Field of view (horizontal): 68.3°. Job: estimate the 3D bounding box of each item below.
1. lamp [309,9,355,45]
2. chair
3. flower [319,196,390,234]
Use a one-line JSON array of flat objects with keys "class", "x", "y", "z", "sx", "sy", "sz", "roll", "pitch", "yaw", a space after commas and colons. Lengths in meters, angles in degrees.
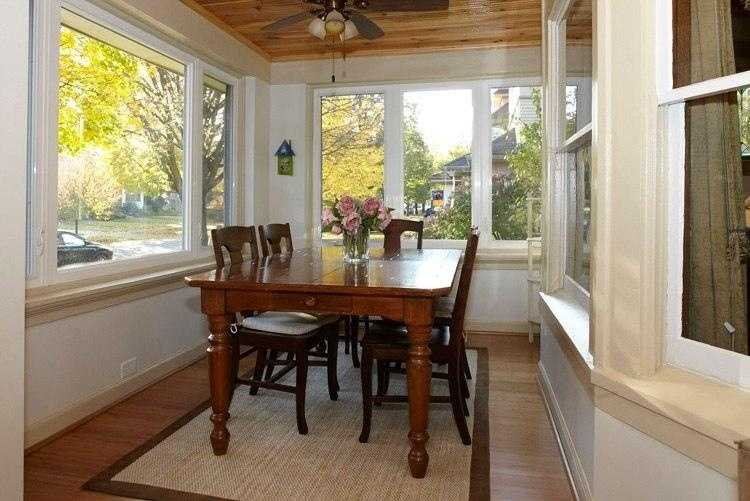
[{"class": "lamp", "x": -0.287, "y": -1.409, "z": 3.438, "sx": 0.220, "sy": 0.085, "sz": 0.231, "roll": -7, "pitch": 7, "yaw": 13}, {"class": "chair", "x": -0.154, "y": 0.434, "z": 3.232, "sx": 1.004, "sy": 0.776, "sz": 1.547, "roll": 0, "pitch": 1, "yaw": 13}, {"class": "flower", "x": -0.109, "y": -0.222, "z": 3.585, "sx": 0.294, "sy": 0.220, "sz": 0.302, "roll": 1, "pitch": 2, "yaw": 3}]
